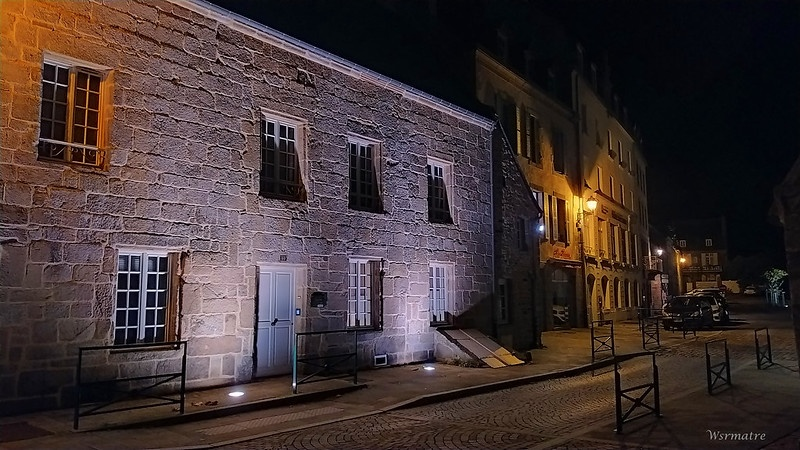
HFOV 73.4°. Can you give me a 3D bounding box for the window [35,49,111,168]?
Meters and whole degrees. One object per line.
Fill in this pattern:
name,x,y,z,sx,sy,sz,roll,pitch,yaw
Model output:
window,-8.567,-2.946,14.094,1.614,2.759,0.402,1,-1,-31
